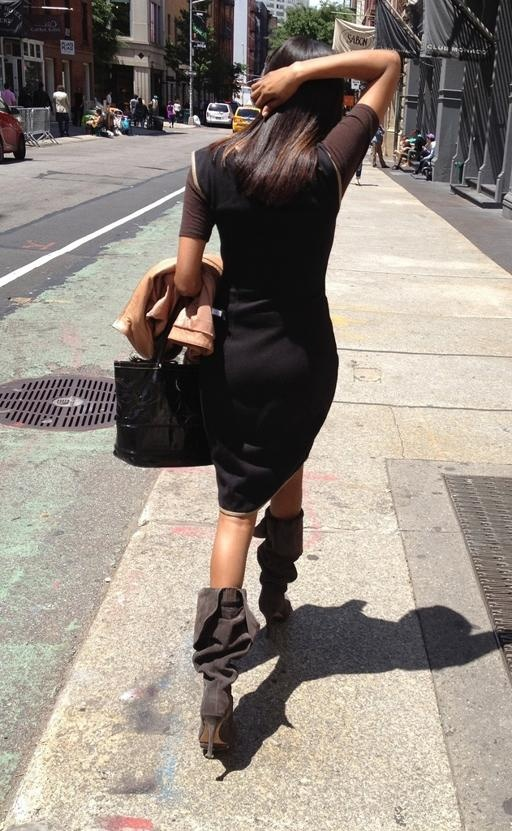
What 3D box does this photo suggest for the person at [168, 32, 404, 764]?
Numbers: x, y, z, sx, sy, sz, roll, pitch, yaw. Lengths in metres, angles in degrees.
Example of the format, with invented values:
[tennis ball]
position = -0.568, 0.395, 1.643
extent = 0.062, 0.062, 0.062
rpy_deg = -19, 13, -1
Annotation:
[person]
position = 0.065, -0.028, 1.447
extent = 0.520, 1.765, 0.299
rpy_deg = 0, 9, -9

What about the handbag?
[handbag]
position = -0.329, -0.037, 2.004
extent = 0.446, 0.666, 0.276
rpy_deg = 2, 4, -8
